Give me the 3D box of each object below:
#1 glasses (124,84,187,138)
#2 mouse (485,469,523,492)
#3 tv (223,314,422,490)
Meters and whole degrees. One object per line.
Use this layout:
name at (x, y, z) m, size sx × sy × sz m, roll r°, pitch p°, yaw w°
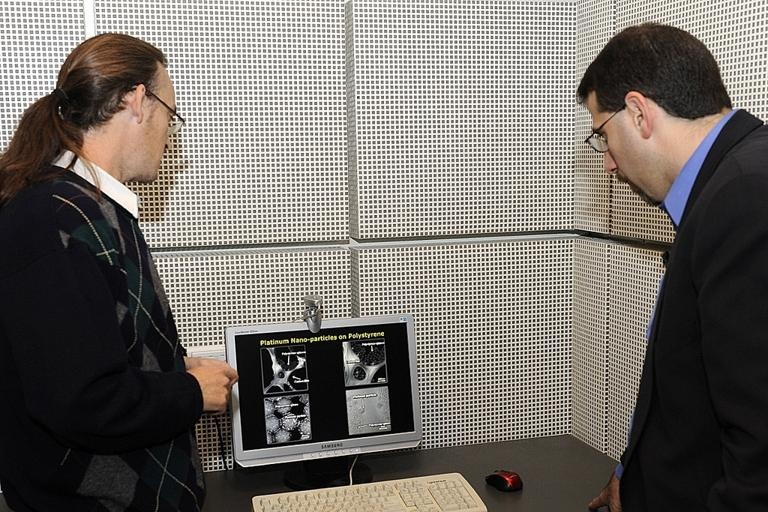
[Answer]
glasses at (-0.567, -0.362, 1.648) m, size 0.029 × 0.093 × 0.093 m, roll -41°, pitch 2°, yaw 3°
mouse at (0.351, 0.645, 1.898) m, size 0.108 × 0.043 × 0.082 m, roll 5°, pitch 12°, yaw 25°
tv at (-0.184, 0.426, 1.921) m, size 0.467 × 0.398 × 0.183 m, roll -3°, pitch -1°, yaw -12°
